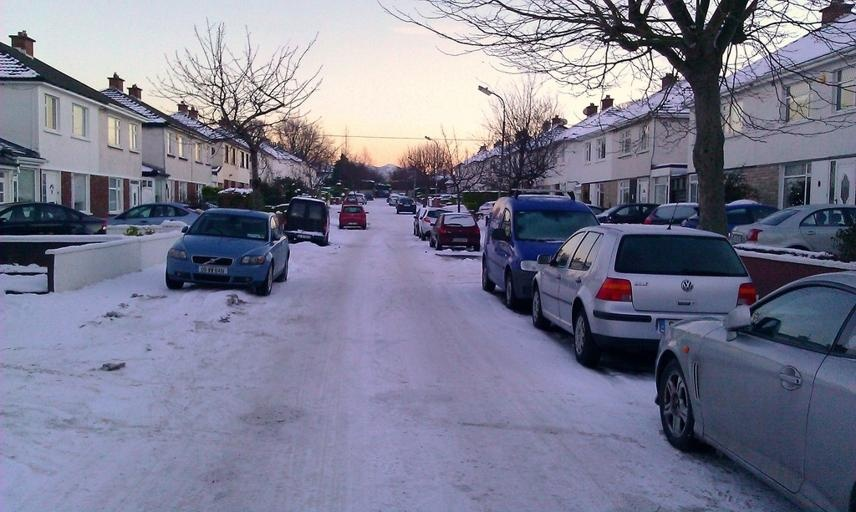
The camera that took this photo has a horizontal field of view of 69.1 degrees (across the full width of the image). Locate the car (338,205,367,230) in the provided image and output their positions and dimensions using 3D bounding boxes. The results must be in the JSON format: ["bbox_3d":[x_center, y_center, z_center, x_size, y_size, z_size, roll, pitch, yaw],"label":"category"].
[{"bbox_3d":[-5.223,-2.546,42.589,1.752,1.442,1.244,1,14,-2],"label":"car"}]

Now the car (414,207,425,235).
[{"bbox_3d":[-0.563,-1.882,35.291,0.838,0.787,1.507,1,11,0],"label":"car"}]

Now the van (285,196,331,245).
[{"bbox_3d":[-5.508,-1.578,28.285,1.410,1.407,2.606,1,12,-2],"label":"van"}]

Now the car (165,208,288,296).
[{"bbox_3d":[-4.878,-0.014,15.284,2.373,1.816,2.650,3,15,4],"label":"car"}]

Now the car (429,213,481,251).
[{"bbox_3d":[1.268,-0.970,26.909,1.939,1.513,0.968,4,14,9],"label":"car"}]

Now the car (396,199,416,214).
[{"bbox_3d":[-2.439,-5.189,66.851,1.979,1.510,2.252,1,15,-3],"label":"car"}]

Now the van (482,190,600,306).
[{"bbox_3d":[2.465,-0.279,14.969,1.949,1.629,3.226,0,1,-7],"label":"van"}]
